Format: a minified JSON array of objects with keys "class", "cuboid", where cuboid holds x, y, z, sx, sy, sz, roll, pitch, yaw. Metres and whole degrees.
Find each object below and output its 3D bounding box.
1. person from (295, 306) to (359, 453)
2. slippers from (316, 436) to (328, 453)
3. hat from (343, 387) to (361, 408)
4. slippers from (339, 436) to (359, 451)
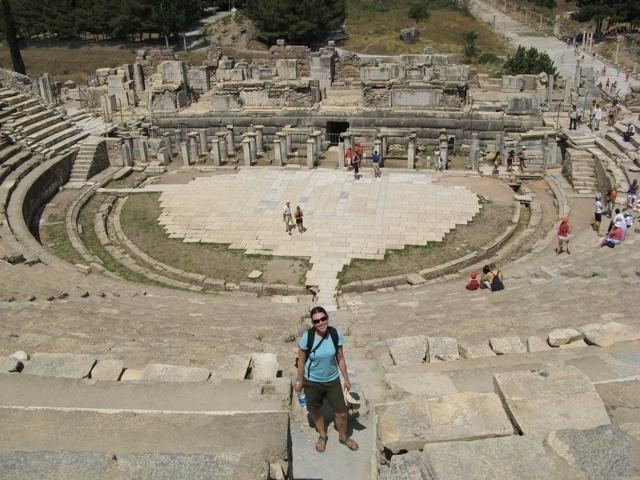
[{"class":"person","cuboid":[0.043,2.014,7.462,0.764,1.768,1.114,-2,32,-3]},{"class":"slippers","cuboid":[0.021,2.964,7.515,0.167,0.117,0.254,2,32,3]},{"class":"hat","cuboid":[0.485,2.396,7.826,0.274,0.110,0.275,30,19,3]},{"class":"slippers","cuboid":[0.420,2.958,7.507,0.144,0.079,0.280,-19,21,-32]}]
